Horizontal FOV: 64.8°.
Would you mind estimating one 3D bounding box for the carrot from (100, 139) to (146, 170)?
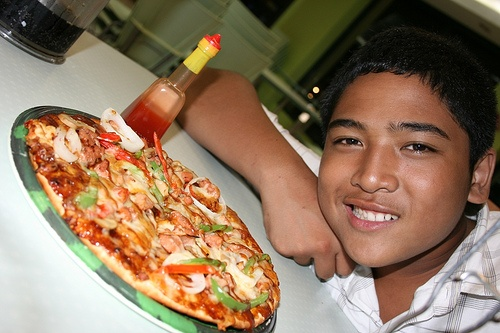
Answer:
[{"bbox_3d":[-0.368,-0.033,1.099,0.162,0.035,0.036,-9,79,-62],"label":"carrot"}]

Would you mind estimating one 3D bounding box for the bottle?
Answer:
[{"bbox_3d":[-0.261,-0.238,1.268,0.142,0.416,0.140,36,27,-21],"label":"bottle"}]
